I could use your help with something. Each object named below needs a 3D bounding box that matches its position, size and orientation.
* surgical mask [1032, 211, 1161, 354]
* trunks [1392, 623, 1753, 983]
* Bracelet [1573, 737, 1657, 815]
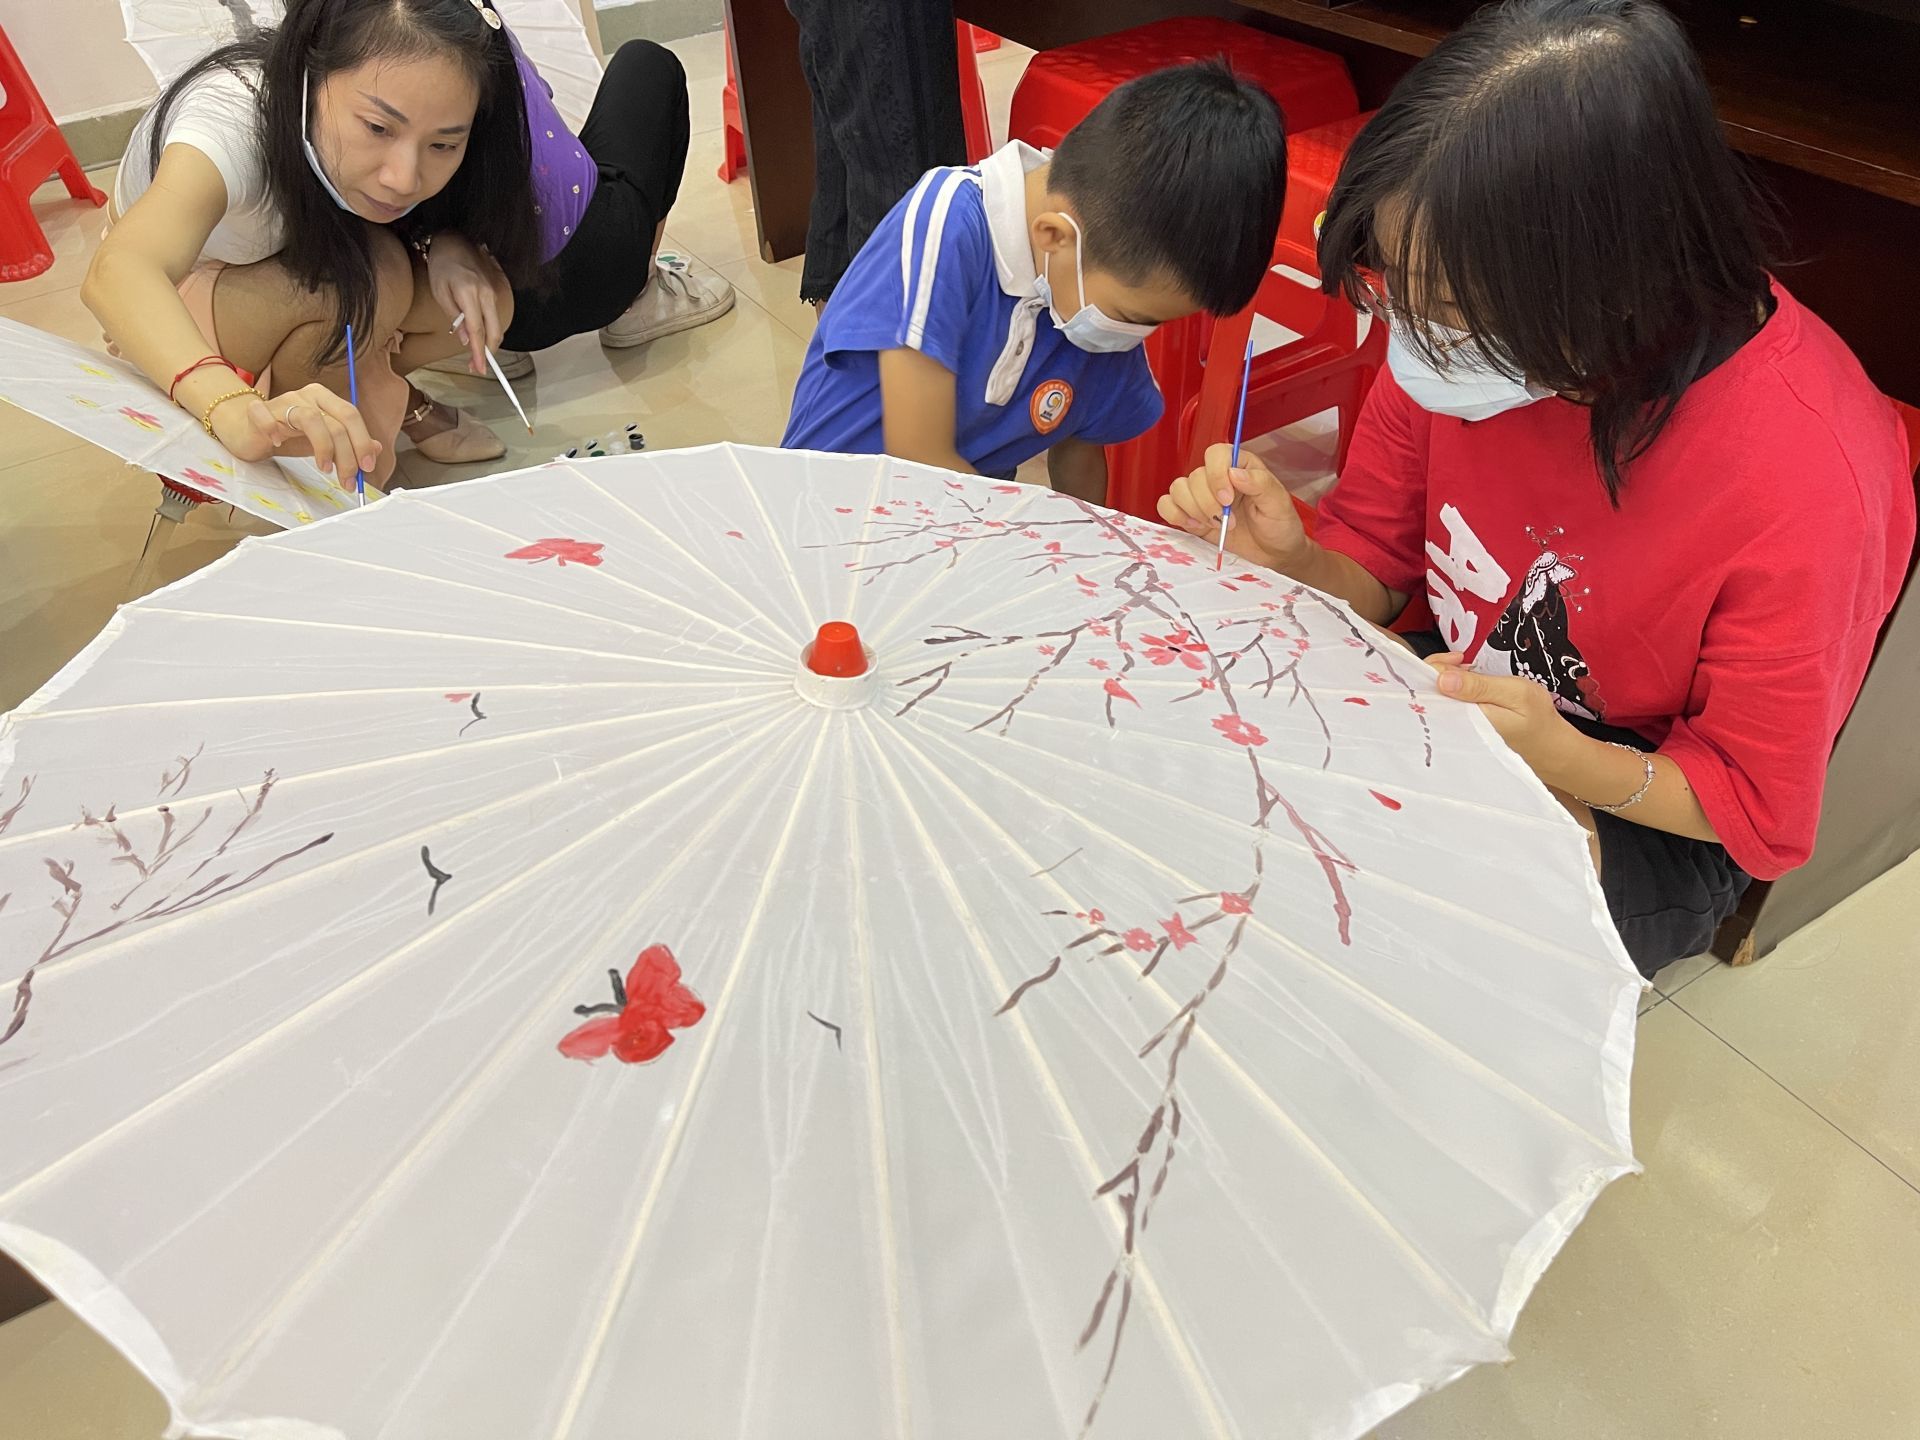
[{"bbox_3d":[0.167,-0.548,1.668,0.122,0.143,0.071,-28,3,-43],"label":"surgical mask"},{"bbox_3d":[0.699,0.177,1.416,0.115,0.446,0.323,-24,21,2],"label":"trunks"},{"bbox_3d":[0.660,0.060,1.302,0.026,0.077,0.073,5,-2,-9],"label":"Bracelet"}]
